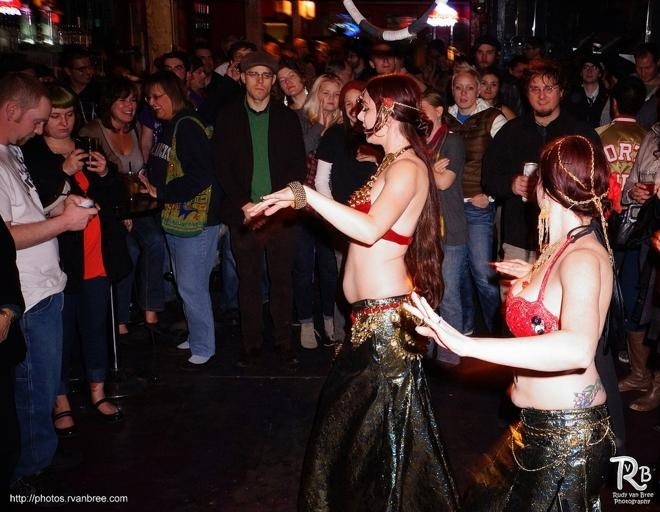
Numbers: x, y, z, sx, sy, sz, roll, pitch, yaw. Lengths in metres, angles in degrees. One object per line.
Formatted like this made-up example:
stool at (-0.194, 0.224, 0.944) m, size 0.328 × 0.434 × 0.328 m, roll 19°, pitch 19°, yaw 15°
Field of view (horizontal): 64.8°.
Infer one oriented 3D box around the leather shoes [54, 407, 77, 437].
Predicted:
leather shoes at (-1.924, 1.199, 3.755) m, size 0.235 × 0.065 × 0.087 m, roll 44°, pitch 34°, yaw 25°

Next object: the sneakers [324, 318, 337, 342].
sneakers at (-0.005, 0.749, 5.238) m, size 0.068 × 0.192 × 0.148 m, roll 2°, pitch -5°, yaw -28°
